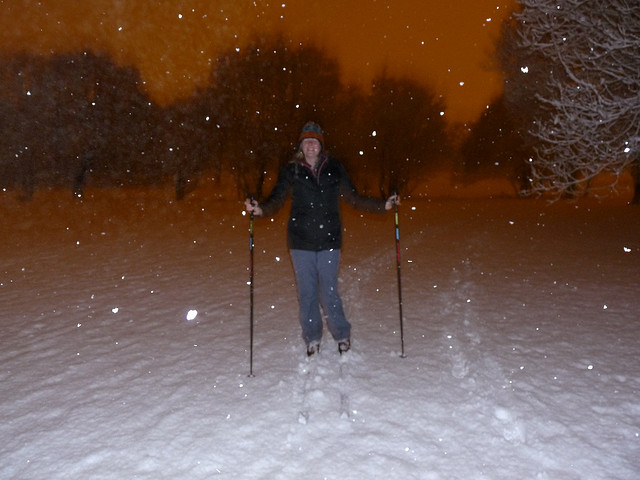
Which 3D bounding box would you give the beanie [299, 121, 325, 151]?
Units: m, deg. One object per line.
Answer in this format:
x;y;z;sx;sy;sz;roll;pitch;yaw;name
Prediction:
-0.074;-1.529;8.873;0.321;0.416;0.534;4;13;21;beanie
